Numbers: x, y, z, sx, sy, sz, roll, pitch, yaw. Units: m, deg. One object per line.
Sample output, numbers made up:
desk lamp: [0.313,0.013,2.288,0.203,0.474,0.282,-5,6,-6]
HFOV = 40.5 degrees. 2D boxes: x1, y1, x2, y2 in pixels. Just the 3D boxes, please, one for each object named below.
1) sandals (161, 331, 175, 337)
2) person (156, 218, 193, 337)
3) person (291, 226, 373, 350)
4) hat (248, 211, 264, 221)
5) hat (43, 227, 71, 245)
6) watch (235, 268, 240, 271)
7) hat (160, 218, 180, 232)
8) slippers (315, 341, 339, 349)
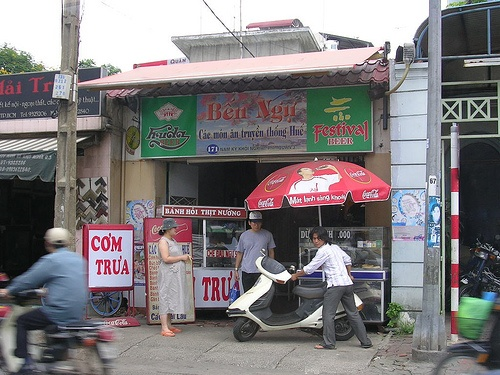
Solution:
sandals: [-1.442,2.589,11.968,0.238,0.115,0.145,-1,-3,-8]
person: [-1.369,1.613,12.143,0.536,2.074,0.488,-1,-3,-8]
person: [1.410,1.686,11.407,1.085,2.011,0.560,-1,-3,4]
hat: [0.089,0.575,13.488,0.278,0.154,0.396,3,-5,-4]
hat: [-2.549,0.644,9.020,0.331,0.260,0.250,2,7,-19]
watch: [-0.251,1.607,13.219,0.057,0.037,0.060,2,-8,-38]
hat: [-1.440,0.671,12.144,0.255,0.131,0.186,-3,7,-7]
slippers: [1.228,2.627,11.184,0.278,0.116,0.133,3,-2,11]
